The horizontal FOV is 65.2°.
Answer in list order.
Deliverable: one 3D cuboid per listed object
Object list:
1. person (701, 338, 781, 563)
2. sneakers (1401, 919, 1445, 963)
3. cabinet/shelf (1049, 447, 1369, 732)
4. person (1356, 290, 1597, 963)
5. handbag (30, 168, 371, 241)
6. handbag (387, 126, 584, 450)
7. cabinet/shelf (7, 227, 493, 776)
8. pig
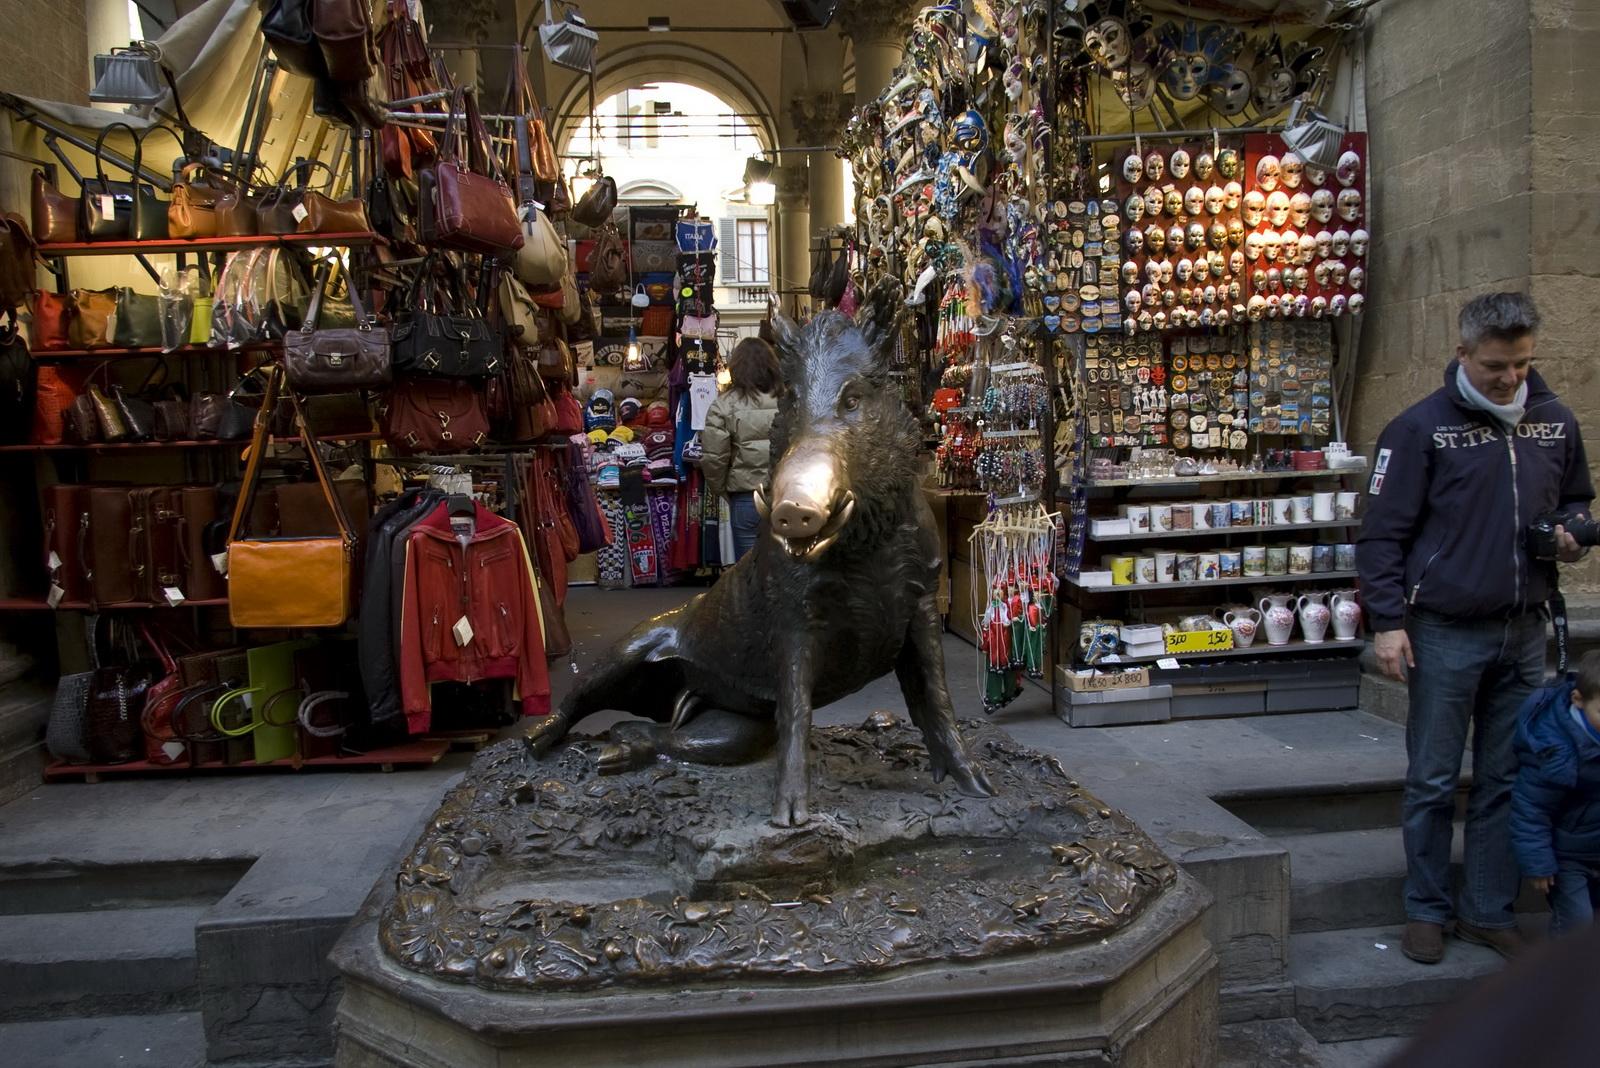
[{"bbox_3d":[-0.434,-0.633,8.642,0.584,1.722,0.606,1,18,3],"label":"person"},{"bbox_3d":[2.589,1.680,5.189,0.094,0.101,0.235,-1,6,10],"label":"sneakers"},{"bbox_3d":[2.408,0.302,7.391,1.908,1.485,0.569,-3,6,-7],"label":"cabinet/shelf"},{"bbox_3d":[2.758,0.331,5.241,1.251,2.502,0.847,1,-38,-1],"label":"person"},{"bbox_3d":[-3.240,-1.668,6.566,0.771,0.217,0.887,0,7,2],"label":"handbag"},{"bbox_3d":[-1.865,-1.348,7.370,0.971,2.191,1.082,2,12,-7],"label":"handbag"},{"bbox_3d":[-2.981,-0.099,6.635,2.782,2.742,1.539,1,2,-5],"label":"cabinet/shelf"},{"bbox_3d":[-0.099,0.035,4.874,1.623,1.978,1.937,1,4,-25],"label":"pig"}]
